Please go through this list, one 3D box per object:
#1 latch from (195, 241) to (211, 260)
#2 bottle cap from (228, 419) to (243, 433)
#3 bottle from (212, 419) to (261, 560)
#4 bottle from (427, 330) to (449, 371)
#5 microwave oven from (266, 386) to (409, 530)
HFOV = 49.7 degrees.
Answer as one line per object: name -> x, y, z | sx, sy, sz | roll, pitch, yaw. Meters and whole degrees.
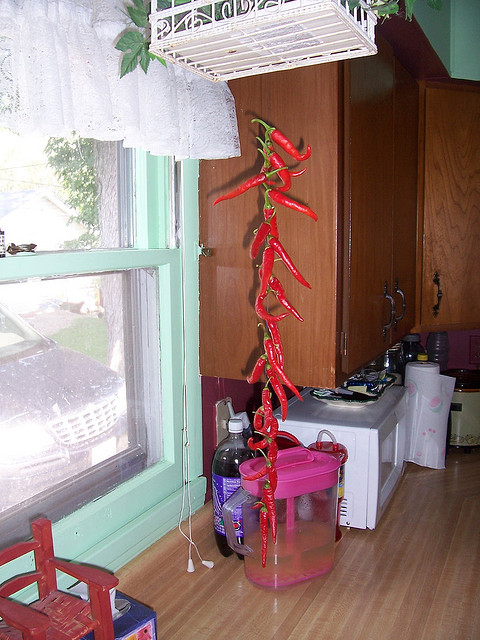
latch -> -0.088, -0.163, 1.212 | 0.037, 0.043, 0.015 | 1, 4, -2
bottle cap -> -0.010, 0.225, 1.108 | 0.032, 0.023, 0.032 | -1, 3, 17
bottle -> -0.032, 0.358, 1.129 | 0.098, 0.275, 0.106 | 2, 19, -1
bottle -> 0.860, 0.129, 2.259 | 0.083, 0.169, 0.167 | 3, 5, 22
microwave oven -> 0.262, 0.288, 1.364 | 0.308, 0.287, 0.442 | 3, 13, 19
